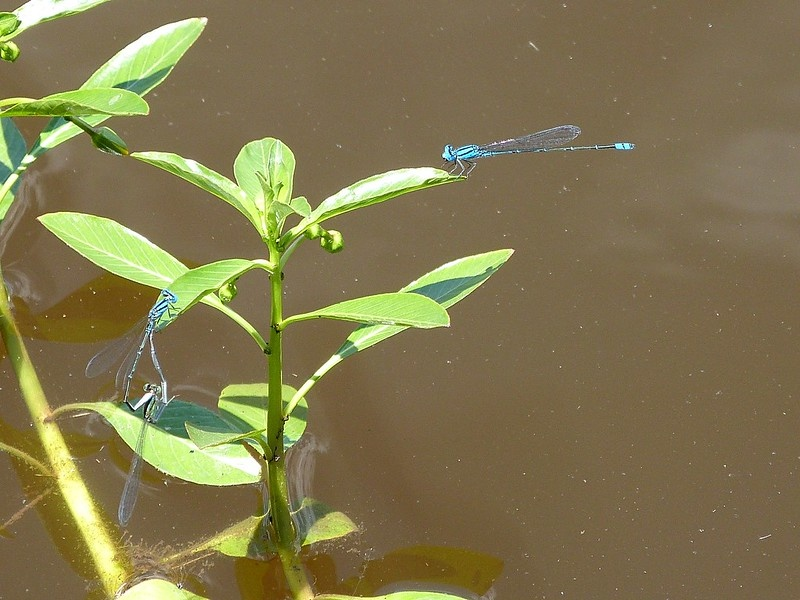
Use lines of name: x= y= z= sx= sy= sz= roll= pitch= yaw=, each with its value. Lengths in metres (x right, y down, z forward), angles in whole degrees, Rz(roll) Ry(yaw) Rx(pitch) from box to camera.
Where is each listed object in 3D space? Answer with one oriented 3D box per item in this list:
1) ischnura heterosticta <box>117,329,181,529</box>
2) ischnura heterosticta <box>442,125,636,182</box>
ischnura heterosticta: x=-0.648 y=0.314 z=2.502 sx=0.145 sy=0.084 sz=0.487 roll=-11 pitch=52 yaw=17
ischnura heterosticta: x=0.380 y=-0.372 z=2.572 sx=0.463 sy=0.159 sz=0.126 roll=-1 pitch=41 yaw=2
